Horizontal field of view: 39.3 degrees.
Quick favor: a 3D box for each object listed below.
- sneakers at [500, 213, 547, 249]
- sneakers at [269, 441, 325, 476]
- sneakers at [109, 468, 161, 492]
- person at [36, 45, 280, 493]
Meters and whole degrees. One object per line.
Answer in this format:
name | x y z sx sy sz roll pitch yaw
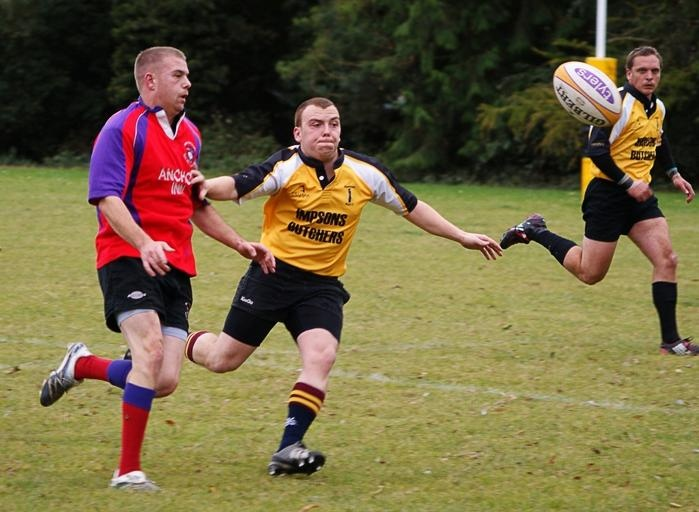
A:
sneakers | 1.744 -0.228 10.099 0.548 0.191 0.284 -21 21 31
sneakers | -0.288 1.399 6.749 0.482 0.145 0.236 -11 32 19
sneakers | -1.453 1.511 6.554 0.294 0.077 0.141 1 -4 1
person | -1.454 0.010 6.887 1.122 2.897 1.461 8 20 36
